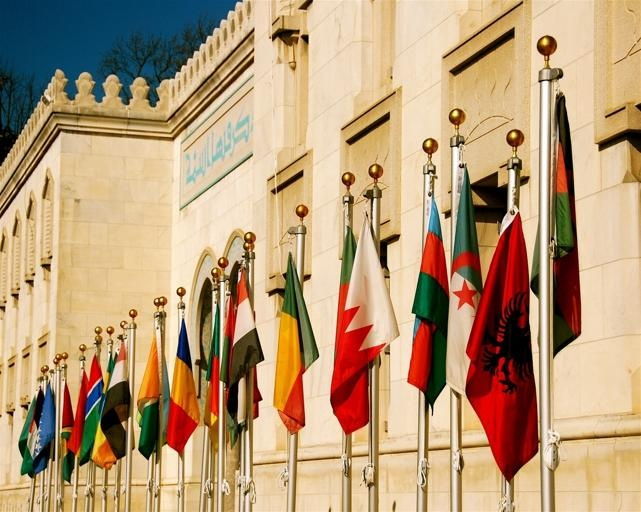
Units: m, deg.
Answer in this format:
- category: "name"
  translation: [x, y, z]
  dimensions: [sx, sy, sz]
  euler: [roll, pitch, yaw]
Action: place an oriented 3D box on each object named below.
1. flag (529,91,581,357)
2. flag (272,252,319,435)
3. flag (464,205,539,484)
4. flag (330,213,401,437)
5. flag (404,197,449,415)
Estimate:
- category: "flag"
  translation: [3.419, -0.498, 27.048]
  dimensions: [0.443, 3.543, 1.014]
  euler: [-4, -16, 7]
- category: "flag"
  translation: [-0.426, 1.419, 30.806]
  dimensions: [0.705, 2.890, 0.725]
  euler: [-2, -16, -2]
- category: "flag"
  translation: [2.573, 1.299, 27.118]
  dimensions: [0.951, 3.770, 0.813]
  euler: [-5, -16, 10]
- category: "flag"
  translation: [0.563, 0.893, 29.185]
  dimensions: [0.857, 0.595, 4.103]
  euler: [-2, -62, -4]
- category: "flag"
  translation: [1.685, 0.677, 28.677]
  dimensions: [0.729, 3.107, 0.587]
  euler: [-13, -19, 34]
